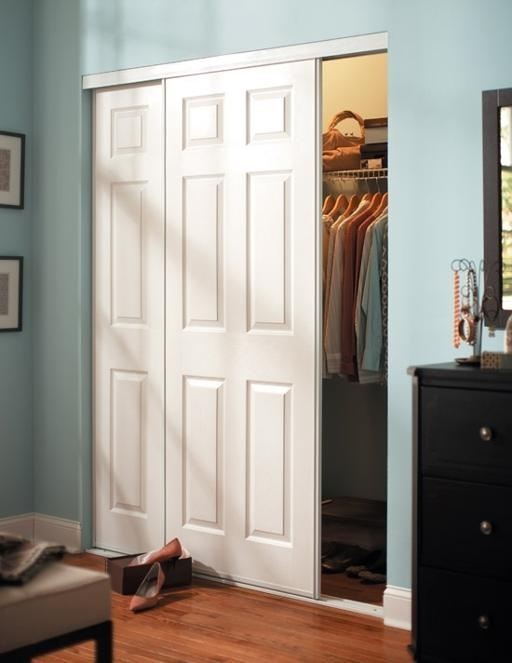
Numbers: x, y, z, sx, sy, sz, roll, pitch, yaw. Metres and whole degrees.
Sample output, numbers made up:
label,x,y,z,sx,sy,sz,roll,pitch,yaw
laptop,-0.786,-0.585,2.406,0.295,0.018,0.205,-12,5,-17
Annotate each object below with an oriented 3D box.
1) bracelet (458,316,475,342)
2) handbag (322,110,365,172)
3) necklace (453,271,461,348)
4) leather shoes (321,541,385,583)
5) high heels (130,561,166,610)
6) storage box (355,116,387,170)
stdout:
label,x,y,z,sx,sy,sz,roll,pitch,yaw
bracelet,0.640,-0.006,1.828,0.046,0.069,0.046,0,-2,-17
handbag,0.505,-1.005,3.384,0.231,0.463,0.131,0,-6,26
necklace,0.652,-0.076,1.957,0.025,0.267,0.222,0,-1,18
leather shoes,0.453,1.061,2.764,0.105,0.193,0.382,-1,0,-27
high heels,-0.425,1.008,2.352,0.075,0.116,0.248,-3,3,13
storage box,0.624,-0.950,3.177,0.171,0.335,0.275,5,12,28
